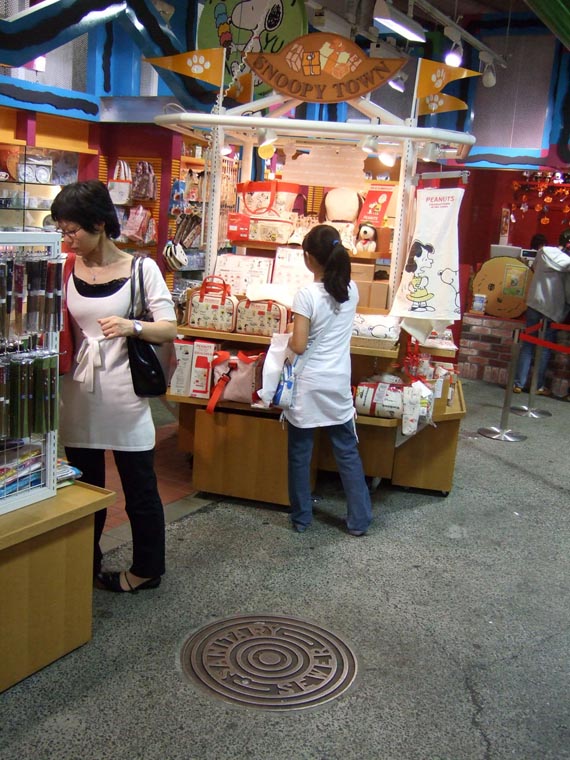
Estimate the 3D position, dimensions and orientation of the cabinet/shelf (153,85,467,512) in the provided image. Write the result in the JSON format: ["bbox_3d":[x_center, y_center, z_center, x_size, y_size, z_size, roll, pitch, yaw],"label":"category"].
[{"bbox_3d":[0.153,-0.609,4.716,2.610,2.805,2.475,4,9,18],"label":"cabinet/shelf"}]

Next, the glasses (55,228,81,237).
[{"bbox_3d":[-0.710,-0.486,1.885,0.087,0.025,0.085,1,24,1],"label":"glasses"}]

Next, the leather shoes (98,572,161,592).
[{"bbox_3d":[-0.642,0.838,2.416,0.264,0.062,0.096,5,16,-14],"label":"leather shoes"}]

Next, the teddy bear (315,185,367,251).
[{"bbox_3d":[0.403,-1.198,4.155,0.294,0.372,0.230,3,7,-1],"label":"teddy bear"}]

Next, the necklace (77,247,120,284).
[{"bbox_3d":[-0.681,-0.411,2.091,0.165,0.143,0.096,2,-2,-20],"label":"necklace"}]

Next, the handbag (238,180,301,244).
[{"bbox_3d":[-0.156,-1.157,4.163,0.530,0.454,0.447,6,14,25],"label":"handbag"}]

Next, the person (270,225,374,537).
[{"bbox_3d":[0.228,0.031,3.075,0.598,1.638,0.277,2,7,-34],"label":"person"}]

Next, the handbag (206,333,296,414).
[{"bbox_3d":[-0.150,-0.028,3.120,0.469,0.438,0.183,-2,-26,34],"label":"handbag"}]
